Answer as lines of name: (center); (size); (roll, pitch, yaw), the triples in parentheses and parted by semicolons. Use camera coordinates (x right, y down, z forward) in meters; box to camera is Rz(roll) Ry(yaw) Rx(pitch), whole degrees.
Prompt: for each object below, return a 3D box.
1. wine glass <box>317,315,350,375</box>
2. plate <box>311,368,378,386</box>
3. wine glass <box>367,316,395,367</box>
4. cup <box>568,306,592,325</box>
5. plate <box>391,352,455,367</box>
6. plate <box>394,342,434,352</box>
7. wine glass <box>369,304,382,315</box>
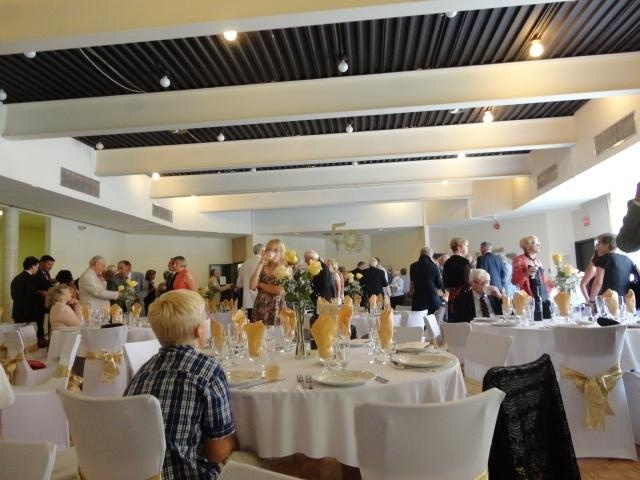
wine glass: (0.080, 0.638, 2.759); (0.226, 0.332, 0.241); (-1, -7, 13)
plate: (0.141, 0.783, 2.459); (0.320, 0.057, 0.327); (-5, -9, 38)
wine glass: (0.419, 0.669, 2.968); (0.172, 0.300, 0.411); (0, -7, 7)
cup: (2.561, 0.743, 4.265); (0.159, 0.184, 0.307); (0, -2, 33)
plate: (0.672, 0.776, 2.814); (0.390, 0.052, 0.452); (-1, -8, 9)
plate: (0.710, 0.780, 3.162); (0.237, 0.054, 0.355); (-4, -9, 33)
wine glass: (0.534, 0.658, 4.067); (0.117, 0.103, 0.128); (-2, -1, 2)
